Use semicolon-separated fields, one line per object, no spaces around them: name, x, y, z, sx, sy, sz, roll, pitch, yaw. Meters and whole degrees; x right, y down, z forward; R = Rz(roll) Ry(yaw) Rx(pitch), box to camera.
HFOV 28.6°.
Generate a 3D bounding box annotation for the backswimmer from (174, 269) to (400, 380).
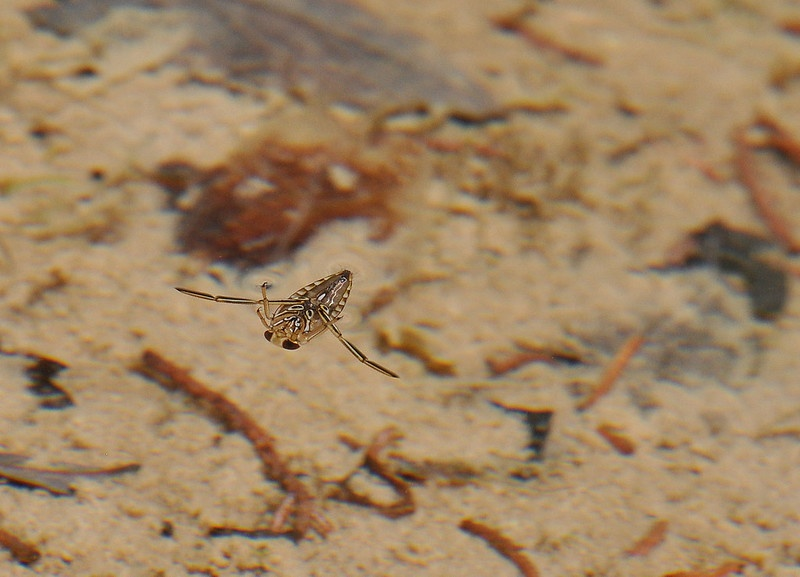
backswimmer;-0.188;0.037;2.737;0.367;0.158;0.074;20;-69;-8
